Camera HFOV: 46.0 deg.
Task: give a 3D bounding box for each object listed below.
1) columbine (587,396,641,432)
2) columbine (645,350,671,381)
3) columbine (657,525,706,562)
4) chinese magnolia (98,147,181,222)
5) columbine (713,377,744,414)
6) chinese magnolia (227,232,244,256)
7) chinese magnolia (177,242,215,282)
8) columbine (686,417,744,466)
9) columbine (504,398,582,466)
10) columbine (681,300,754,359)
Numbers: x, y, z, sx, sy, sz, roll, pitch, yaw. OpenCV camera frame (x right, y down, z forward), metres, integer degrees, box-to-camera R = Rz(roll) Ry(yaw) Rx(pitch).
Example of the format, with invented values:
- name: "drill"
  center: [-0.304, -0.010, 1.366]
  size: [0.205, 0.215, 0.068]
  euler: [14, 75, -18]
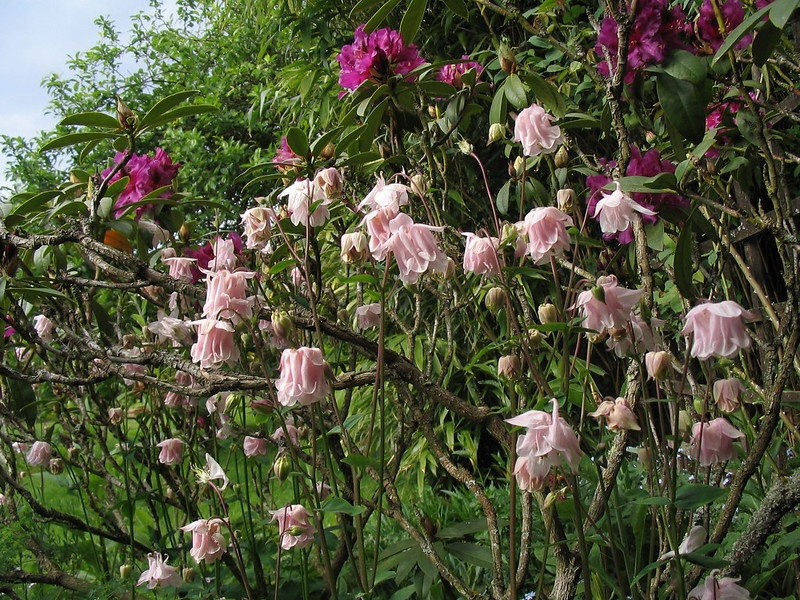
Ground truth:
- name: "columbine"
  center: [0.509, 0.280, 2.240]
  size: [0.074, 0.048, 0.082]
  euler: [6, -14, 15]
- name: "columbine"
  center: [0.620, 0.158, 2.254]
  size: [0.053, 0.078, 0.062]
  euler: [-4, -1, -24]
- name: "columbine"
  center: [0.687, 0.593, 2.308]
  size: [0.117, 0.069, 0.260]
  euler: [-13, -19, 18]
- name: "chinese magnolia"
  center: [-0.772, -0.350, 2.822]
  size: [0.153, 0.248, 0.187]
  euler: [-3, 3, 35]
- name: "columbine"
  center: [0.851, 0.250, 2.436]
  size: [0.071, 0.084, 0.103]
  euler: [-19, -21, 37]
- name: "chinese magnolia"
  center: [-0.460, -0.160, 2.678]
  size: [0.018, 0.065, 0.060]
  euler: [-8, -40, 8]
- name: "chinese magnolia"
  center: [-0.593, -0.114, 2.846]
  size: [0.111, 0.061, 0.114]
  euler: [-19, 6, 13]
- name: "columbine"
  center: [0.792, 0.362, 2.371]
  size: [0.112, 0.099, 0.122]
  euler: [-19, -3, 21]
- name: "columbine"
  center: [0.323, 0.317, 2.142]
  size: [0.160, 0.164, 0.128]
  euler: [-1, -17, -19]
- name: "columbine"
  center: [0.744, 0.072, 2.212]
  size: [0.158, 0.135, 0.106]
  euler: [-12, -17, 18]
